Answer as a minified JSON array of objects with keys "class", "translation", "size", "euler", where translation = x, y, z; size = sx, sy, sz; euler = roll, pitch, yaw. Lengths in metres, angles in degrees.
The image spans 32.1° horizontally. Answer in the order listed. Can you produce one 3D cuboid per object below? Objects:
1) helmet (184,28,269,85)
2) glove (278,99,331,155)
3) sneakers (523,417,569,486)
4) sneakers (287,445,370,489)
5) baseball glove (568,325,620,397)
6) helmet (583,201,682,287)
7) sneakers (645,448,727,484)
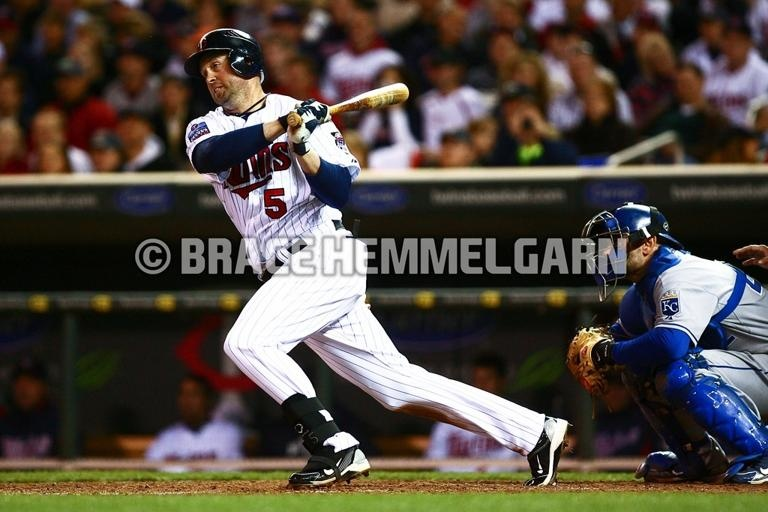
[{"class":"helmet","translation":[-0.879,-1.100,7.444],"size":[0.377,0.277,0.290],"euler":[-5,-18,-15]},{"class":"glove","translation":[-0.410,-0.704,7.299],"size":[0.178,0.216,0.337],"euler":[-7,-3,38]},{"class":"sneakers","translation":[0.927,1.103,7.612],"size":[0.208,0.457,0.157],"euler":[13,-7,-13]},{"class":"sneakers","translation":[-0.318,1.169,7.403],"size":[0.409,0.201,0.203],"euler":[-4,-9,-26]},{"class":"baseball glove","translation":[1.297,0.598,7.834],"size":[0.451,0.395,0.333],"euler":[5,9,9]},{"class":"helmet","translation":[1.393,-0.067,7.691],"size":[0.529,0.419,0.408],"euler":[-6,-5,2]},{"class":"sneakers","translation":[1.708,1.206,7.619],"size":[0.331,0.122,0.216],"euler":[-2,-12,29]}]
